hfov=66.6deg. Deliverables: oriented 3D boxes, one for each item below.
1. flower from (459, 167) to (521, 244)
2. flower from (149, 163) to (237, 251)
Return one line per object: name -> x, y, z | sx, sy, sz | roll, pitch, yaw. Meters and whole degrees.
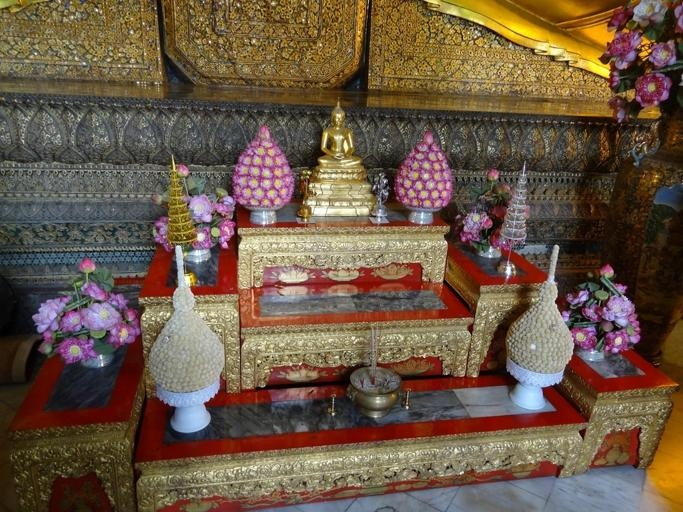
flower -> 0.664, -0.222, 2.605 | 0.383, 0.334, 0.266 | 4, -11, -13
flower -> -0.697, -0.224, 2.415 | 0.378, 0.409, 0.362 | 6, 25, 18
